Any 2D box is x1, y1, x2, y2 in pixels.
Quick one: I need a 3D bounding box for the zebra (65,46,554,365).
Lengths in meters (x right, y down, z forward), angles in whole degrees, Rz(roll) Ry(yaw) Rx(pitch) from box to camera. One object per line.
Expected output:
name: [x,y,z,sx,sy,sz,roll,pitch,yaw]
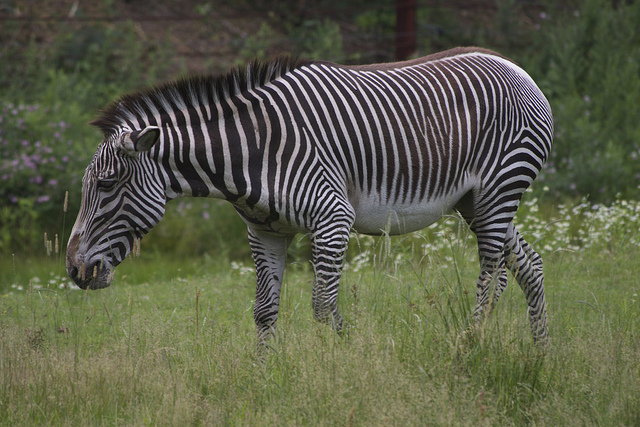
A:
zebra: [0.168,0.065,11.127,5.327,3.506,1.649,-6,12,-14]
